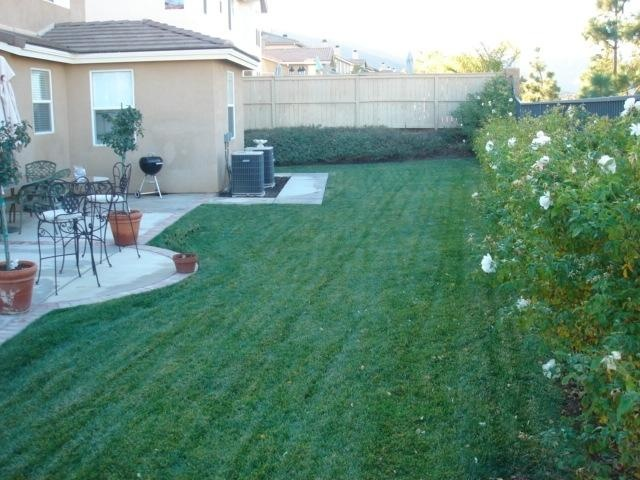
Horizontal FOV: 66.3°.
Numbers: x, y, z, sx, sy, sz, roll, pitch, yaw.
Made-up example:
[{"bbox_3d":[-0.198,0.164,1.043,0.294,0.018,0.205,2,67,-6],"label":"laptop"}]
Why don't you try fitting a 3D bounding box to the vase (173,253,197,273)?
[{"bbox_3d":[-1.884,0.316,6.906,0.252,0.210,0.274,-2,0,4],"label":"vase"}]
